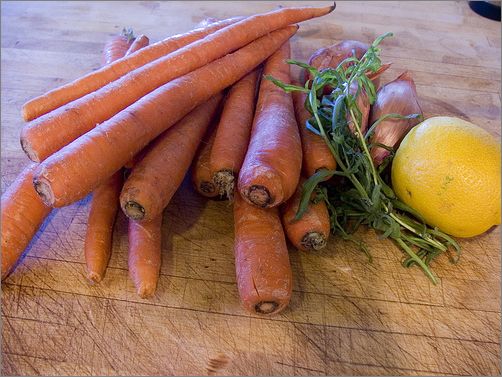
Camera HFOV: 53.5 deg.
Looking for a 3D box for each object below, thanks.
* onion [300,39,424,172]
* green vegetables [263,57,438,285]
[{"bbox_3d":[0.470,-0.297,2.178,0.457,0.311,0.554,-3,51,-1],"label":"onion"},{"bbox_3d":[0.425,-0.093,1.914,0.754,0.835,0.563,-22,44,-37],"label":"green vegetables"}]
